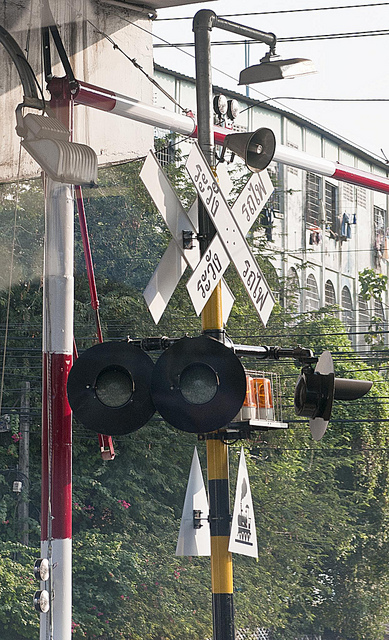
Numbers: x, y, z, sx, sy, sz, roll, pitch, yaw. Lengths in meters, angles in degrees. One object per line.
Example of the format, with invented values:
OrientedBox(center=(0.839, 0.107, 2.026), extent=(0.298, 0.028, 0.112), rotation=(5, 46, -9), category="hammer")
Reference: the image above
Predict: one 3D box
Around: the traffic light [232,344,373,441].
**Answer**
OrientedBox(center=(0.943, 0.531, 12.280), extent=(0.897, 1.116, 0.946), rotation=(4, -13, -34), category="traffic light")

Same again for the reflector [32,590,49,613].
OrientedBox(center=(-1.468, 2.712, 12.982), extent=(0.144, 0.230, 0.353), rotation=(3, 0, -7), category="reflector")

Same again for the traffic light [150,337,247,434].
OrientedBox(center=(0.013, 0.535, 11.316), extent=(0.774, 0.984, 0.232), rotation=(-1, 0, 3), category="traffic light")

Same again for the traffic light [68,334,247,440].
OrientedBox(center=(-0.347, 0.554, 11.259), extent=(1.426, 0.868, 0.395), rotation=(3, 0, 24), category="traffic light")

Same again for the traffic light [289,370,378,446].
OrientedBox(center=(1.183, 0.721, 12.044), extent=(0.583, 0.857, 0.757), rotation=(11, -4, -15), category="traffic light")

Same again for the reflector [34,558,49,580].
OrientedBox(center=(-1.473, 2.407, 13.046), extent=(0.140, 0.217, 0.306), rotation=(3, 0, -7), category="reflector")

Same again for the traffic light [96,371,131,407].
OrientedBox(center=(-0.698, 0.582, 11.378), extent=(0.243, 0.303, 0.166), rotation=(-11, -5, -4), category="traffic light")
